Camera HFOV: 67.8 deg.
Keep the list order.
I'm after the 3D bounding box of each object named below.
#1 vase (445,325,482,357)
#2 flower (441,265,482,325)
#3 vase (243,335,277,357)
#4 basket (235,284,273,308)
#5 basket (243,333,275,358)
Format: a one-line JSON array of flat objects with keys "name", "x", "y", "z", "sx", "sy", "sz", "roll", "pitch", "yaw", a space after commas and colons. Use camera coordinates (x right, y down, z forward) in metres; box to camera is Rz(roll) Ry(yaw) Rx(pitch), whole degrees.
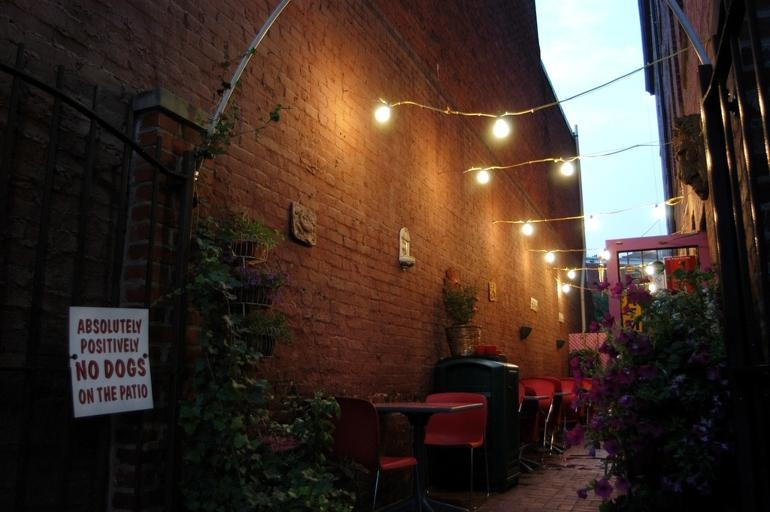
[{"name": "vase", "x": 0.921, "y": 0.974, "z": 6.698, "sx": 0.389, "sy": 0.359, "sz": 0.372, "roll": -5, "pitch": -9, "yaw": 5}, {"name": "flower", "x": 0.942, "y": 0.494, "z": 7.213, "sx": 0.437, "sy": 0.735, "sz": 0.558, "roll": -22, "pitch": -29, "yaw": 37}, {"name": "vase", "x": -0.814, "y": 0.600, "z": 3.756, "sx": 0.141, "sy": 0.115, "sz": 0.146, "roll": 1, "pitch": -11, "yaw": -12}, {"name": "basket", "x": -0.855, "y": 0.261, "z": 3.765, "sx": 0.113, "sy": 0.129, "sz": 0.242, "roll": -10, "pitch": -10, "yaw": 33}, {"name": "basket", "x": -0.813, "y": 0.579, "z": 3.757, "sx": 0.058, "sy": 0.144, "sz": 0.196, "roll": -10, "pitch": -10, "yaw": 36}]
